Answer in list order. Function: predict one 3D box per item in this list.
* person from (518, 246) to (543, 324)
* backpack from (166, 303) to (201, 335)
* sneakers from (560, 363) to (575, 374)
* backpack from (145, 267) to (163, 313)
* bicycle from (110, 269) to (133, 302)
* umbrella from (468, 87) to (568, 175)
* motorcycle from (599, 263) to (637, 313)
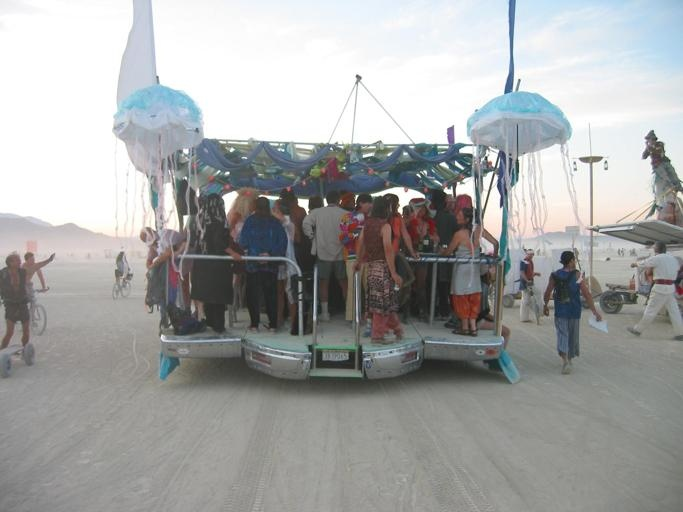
[{"bbox_3d":[4.820,0.765,13.237,0.560,1.899,1.068,3,8,22],"label":"person"},{"bbox_3d":[-2.343,0.924,7.727,0.450,0.450,0.268,-5,9,-31],"label":"backpack"},{"bbox_3d":[3.638,1.816,8.414,0.199,0.231,0.142,-4,8,8],"label":"sneakers"},{"bbox_3d":[-2.786,0.483,7.726,0.187,0.524,0.367,7,-4,-35],"label":"backpack"},{"bbox_3d":[-8.560,1.191,20.115,0.655,0.956,1.422,2,-4,-3],"label":"bicycle"},{"bbox_3d":[2.679,-1.956,7.870,1.486,0.958,0.938,-1,8,-11],"label":"umbrella"},{"bbox_3d":[8.246,1.095,15.393,1.164,1.269,0.929,-2,0,20],"label":"motorcycle"}]
